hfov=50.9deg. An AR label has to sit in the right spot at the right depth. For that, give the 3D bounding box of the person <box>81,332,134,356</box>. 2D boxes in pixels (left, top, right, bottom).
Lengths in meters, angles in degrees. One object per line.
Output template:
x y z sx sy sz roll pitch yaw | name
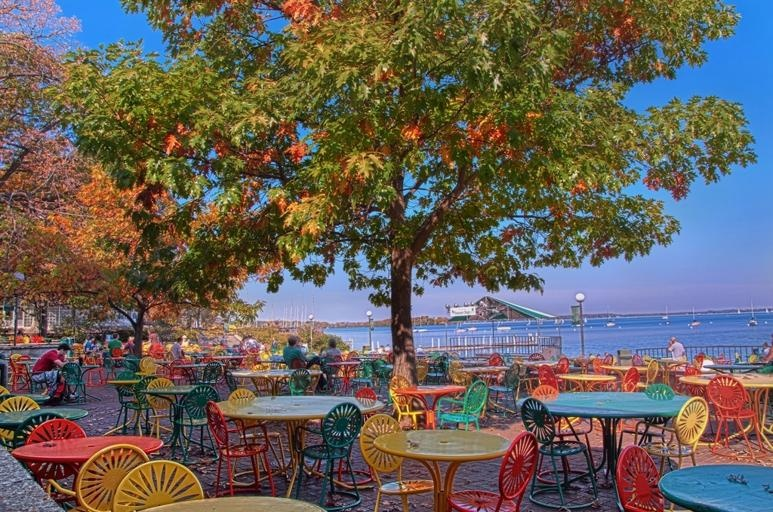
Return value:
-12.522 3.904 36.330 1.494 0.745 0.990 -6 -7 20 | person
